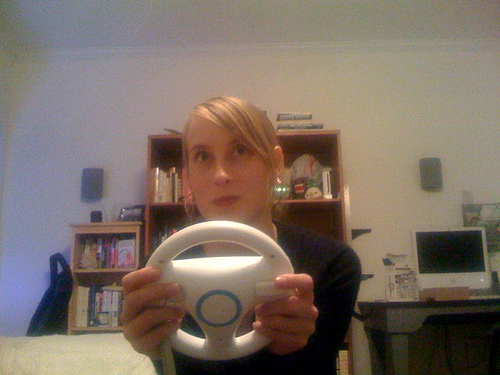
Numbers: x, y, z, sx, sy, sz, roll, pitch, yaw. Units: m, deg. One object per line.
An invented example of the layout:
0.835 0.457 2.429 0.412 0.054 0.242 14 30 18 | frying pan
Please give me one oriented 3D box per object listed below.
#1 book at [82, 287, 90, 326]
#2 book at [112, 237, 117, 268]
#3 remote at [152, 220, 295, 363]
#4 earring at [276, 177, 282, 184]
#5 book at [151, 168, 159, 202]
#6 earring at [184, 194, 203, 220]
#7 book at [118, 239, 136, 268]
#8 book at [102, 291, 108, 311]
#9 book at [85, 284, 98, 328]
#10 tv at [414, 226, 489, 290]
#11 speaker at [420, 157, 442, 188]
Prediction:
-0.435 0.317 1.255 0.017 0.066 0.067 4 9 -10 | book
-0.398 0.192 1.388 0.011 0.088 0.029 -2 -5 -2 | book
-0.052 0.214 0.969 0.285 0.282 0.118 -1 -5 -7 | remote
0.081 -0.017 1.328 0.003 0.015 0.015 -20 -13 34 | earring
-0.300 -0.008 1.483 0.019 0.135 0.104 -1 1 -12 | book
-0.169 0.057 1.346 0.056 0.074 0.060 -3 -6 14 | earring
-0.374 0.201 1.431 0.058 0.081 0.029 1 -6 -31 | book
-0.392 0.308 1.281 0.015 0.050 0.051 0 -6 -16 | book
-0.422 0.311 1.261 0.021 0.083 0.080 2 3 -5 | book
0.560 0.196 1.335 0.187 0.159 0.022 -3 3 -9 | tv
0.497 -0.031 1.292 0.058 0.091 0.057 -5 -15 13 | speaker
